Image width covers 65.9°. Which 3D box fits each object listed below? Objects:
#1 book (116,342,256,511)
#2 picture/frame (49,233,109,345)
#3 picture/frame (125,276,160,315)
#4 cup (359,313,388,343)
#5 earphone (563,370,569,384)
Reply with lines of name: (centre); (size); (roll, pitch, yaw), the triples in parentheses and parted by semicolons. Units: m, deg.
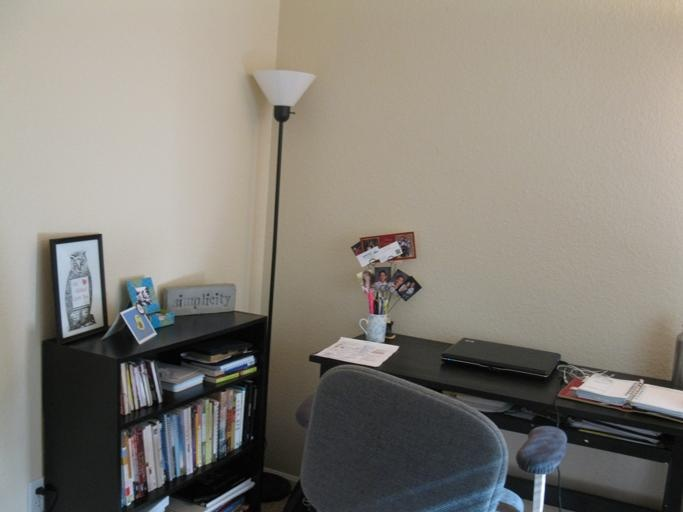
book: (-0.681, 0.712, 2.250); (0.285, 0.721, 0.743); (9, 9, 29)
picture/frame: (-1.052, 0.120, 2.110); (0.058, 0.402, 0.245); (1, 8, 16)
picture/frame: (-0.868, 0.175, 2.349); (0.144, 0.166, 0.056); (-5, 12, 24)
cup: (0.171, 0.362, 2.729); (0.151, 0.152, 0.099); (0, 3, 6)
earphone: (0.984, 0.531, 2.310); (0.025, 0.032, 0.022); (1, 12, 35)
